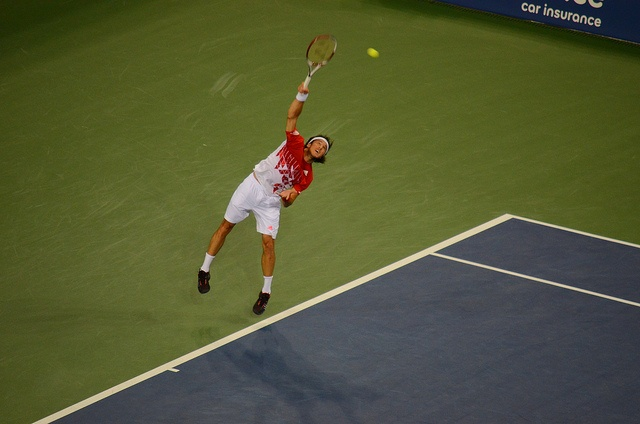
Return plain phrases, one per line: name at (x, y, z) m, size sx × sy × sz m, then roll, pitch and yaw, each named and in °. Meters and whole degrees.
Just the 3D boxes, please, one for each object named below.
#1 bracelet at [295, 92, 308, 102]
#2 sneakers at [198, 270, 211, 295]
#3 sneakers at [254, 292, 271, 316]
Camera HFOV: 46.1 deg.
bracelet at (-0.264, -1.774, 11.625) m, size 0.163 × 0.117 × 0.198 m, roll 10°, pitch -4°, yaw -1°
sneakers at (-1.852, 1.129, 12.168) m, size 0.190 × 0.365 × 0.173 m, roll -3°, pitch -9°, yaw -8°
sneakers at (-0.913, 1.448, 12.061) m, size 0.178 × 0.443 × 0.180 m, roll 27°, pitch 12°, yaw -4°
